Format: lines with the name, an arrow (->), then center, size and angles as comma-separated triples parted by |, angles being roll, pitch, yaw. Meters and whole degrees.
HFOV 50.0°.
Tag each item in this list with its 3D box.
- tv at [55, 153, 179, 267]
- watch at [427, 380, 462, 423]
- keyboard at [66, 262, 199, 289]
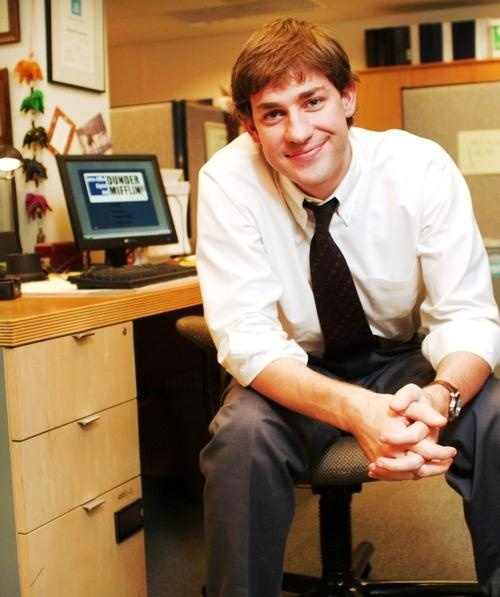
tv -> -0.421, -0.287, 1.707 | 0.119, 0.341, 0.372 | 12, 18, 42
watch -> 0.284, 0.145, 0.761 | 0.060, 0.062, 0.041 | -1, 5, 24
keyboard -> -0.287, -0.057, 1.344 | 0.254, 0.038, 0.314 | 6, 11, 30
